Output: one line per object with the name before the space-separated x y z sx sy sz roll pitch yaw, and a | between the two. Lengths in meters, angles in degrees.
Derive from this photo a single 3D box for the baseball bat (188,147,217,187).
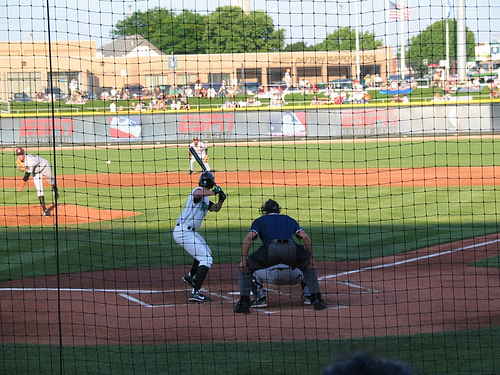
baseball bat | -1.325 -0.688 28.284 0.174 1.308 0.189 -46 -22 1

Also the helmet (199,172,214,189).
helmet | -1.146 -0.183 27.960 0.390 0.440 0.399 -2 5 -3

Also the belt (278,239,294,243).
belt | 0.948 1.361 26.743 0.439 0.096 0.119 -3 5 -25

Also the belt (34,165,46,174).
belt | -6.923 -0.606 34.985 0.330 0.290 0.114 -3 5 -12
